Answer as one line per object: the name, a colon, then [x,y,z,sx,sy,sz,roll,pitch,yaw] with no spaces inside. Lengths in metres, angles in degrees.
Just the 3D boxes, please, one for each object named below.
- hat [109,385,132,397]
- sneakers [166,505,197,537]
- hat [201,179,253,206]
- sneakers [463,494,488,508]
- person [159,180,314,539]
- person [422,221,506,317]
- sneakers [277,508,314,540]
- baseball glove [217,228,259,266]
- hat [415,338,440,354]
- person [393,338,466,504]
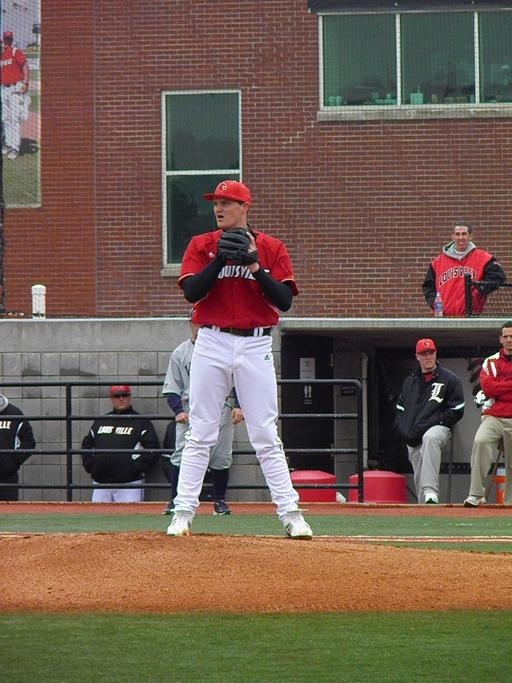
hat: [-1.332,0.496,21.014,0.118,0.117,0.165,-1,4,1]
sneakers: [-0.551,1.325,15.464,0.199,0.192,0.355,-3,13,-2]
hat: [-0.194,-1.070,15.670,0.287,0.184,0.224,5,-3,-12]
sneakers: [1.950,1.435,19.182,0.080,0.123,0.246,-4,-16,32]
person: [-0.160,0.171,15.569,0.992,2.556,0.816,-3,12,-3]
person: [2.038,-0.689,21.201,0.871,0.967,0.419,1,12,17]
sneakers: [0.284,1.354,15.654,0.118,0.154,0.315,-6,-9,-16]
baseball glove: [-0.146,-0.664,15.346,0.200,0.142,0.291,11,22,-10]
hat: [1.590,0.036,20.237,0.123,0.111,0.199,-3,-12,-5]
person: [1.628,0.743,20.079,0.633,1.394,1.040,-3,12,-1]
